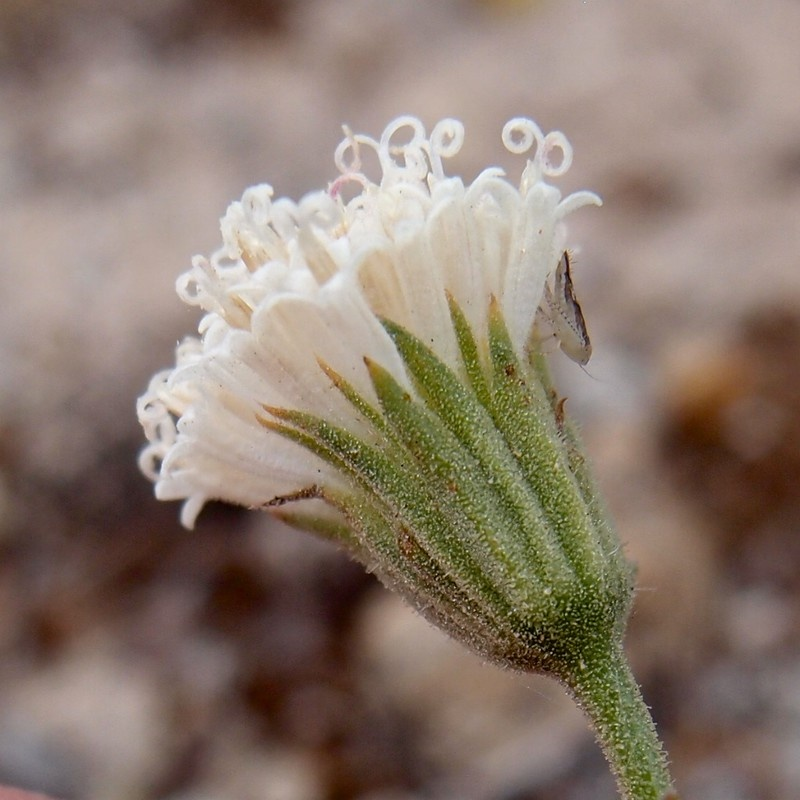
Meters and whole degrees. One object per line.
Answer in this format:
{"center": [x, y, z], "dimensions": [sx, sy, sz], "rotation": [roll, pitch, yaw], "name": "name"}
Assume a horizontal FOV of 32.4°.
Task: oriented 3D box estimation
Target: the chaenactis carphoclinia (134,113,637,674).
{"center": [0.029, 0.005, 1.228], "dimensions": [0.487, 0.459, 0.397], "rotation": [8, -5, 8], "name": "chaenactis carphoclinia"}

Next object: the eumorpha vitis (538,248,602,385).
{"center": [0.150, -0.075, 1.182], "dimensions": [0.040, 0.034, 0.101], "rotation": [-2, -84, -11], "name": "eumorpha vitis"}
